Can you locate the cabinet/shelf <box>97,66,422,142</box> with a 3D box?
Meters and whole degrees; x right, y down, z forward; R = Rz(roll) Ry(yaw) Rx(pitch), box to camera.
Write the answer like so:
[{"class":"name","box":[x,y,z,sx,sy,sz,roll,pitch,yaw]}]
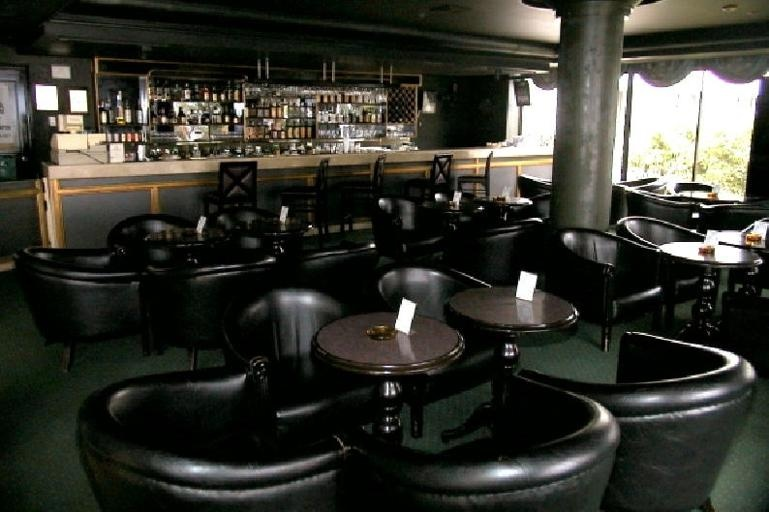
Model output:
[{"class":"cabinet/shelf","box":[-2.169,-2.688,10.914,5.542,1.392,1.119,-5,14,-21]}]
